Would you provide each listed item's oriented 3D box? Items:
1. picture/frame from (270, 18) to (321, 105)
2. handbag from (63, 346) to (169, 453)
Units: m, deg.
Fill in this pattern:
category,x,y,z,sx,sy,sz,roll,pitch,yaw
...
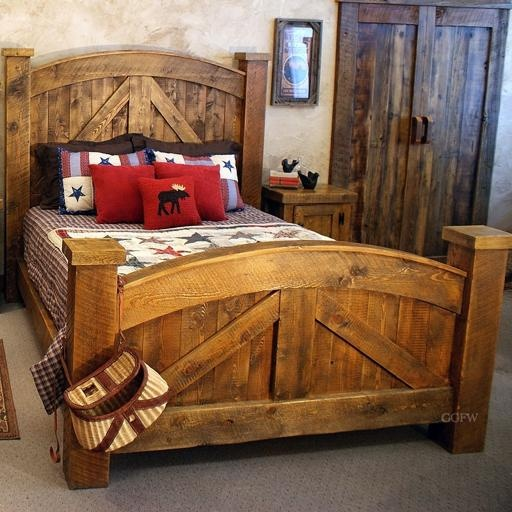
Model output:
category,x,y,z,sx,sy,sz,roll,pitch,yaw
picture/frame,0.284,-1.477,3.819,0.474,0.559,0.617,-1,3,-1
handbag,-0.383,0.347,1.274,0.286,0.102,0.263,-19,46,-26
